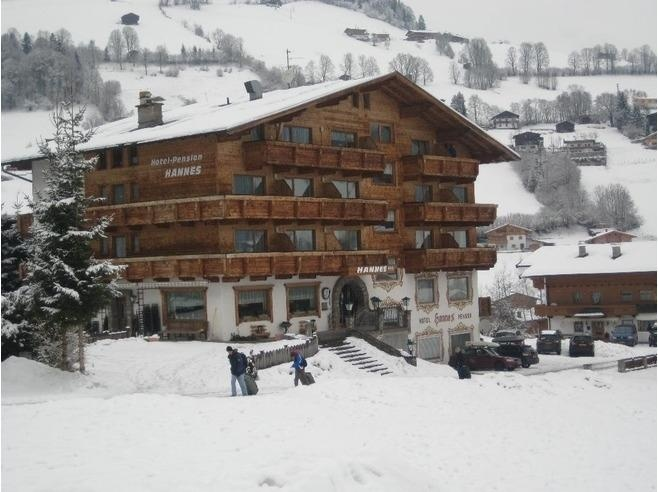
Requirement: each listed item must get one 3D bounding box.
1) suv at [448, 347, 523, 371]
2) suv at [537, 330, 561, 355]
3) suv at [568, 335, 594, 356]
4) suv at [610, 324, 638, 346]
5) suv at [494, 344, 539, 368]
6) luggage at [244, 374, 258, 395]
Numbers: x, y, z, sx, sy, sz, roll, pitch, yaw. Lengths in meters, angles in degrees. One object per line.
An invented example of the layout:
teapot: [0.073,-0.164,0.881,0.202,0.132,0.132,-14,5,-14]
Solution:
suv: [10.495,7.872,58.570,3.899,1.573,1.880,-5,-7,30]
suv: [16.854,7.493,65.955,1.866,1.600,1.958,8,13,16]
suv: [18.442,7.538,63.088,1.723,1.558,1.474,8,13,16]
suv: [23.396,7.150,68.221,1.199,1.161,2.138,-4,-10,27]
suv: [12.877,7.583,59.622,2.859,1.125,1.324,6,1,41]
luggage: [-3.853,6.805,41.963,0.516,1.056,0.696,-20,-2,-34]
